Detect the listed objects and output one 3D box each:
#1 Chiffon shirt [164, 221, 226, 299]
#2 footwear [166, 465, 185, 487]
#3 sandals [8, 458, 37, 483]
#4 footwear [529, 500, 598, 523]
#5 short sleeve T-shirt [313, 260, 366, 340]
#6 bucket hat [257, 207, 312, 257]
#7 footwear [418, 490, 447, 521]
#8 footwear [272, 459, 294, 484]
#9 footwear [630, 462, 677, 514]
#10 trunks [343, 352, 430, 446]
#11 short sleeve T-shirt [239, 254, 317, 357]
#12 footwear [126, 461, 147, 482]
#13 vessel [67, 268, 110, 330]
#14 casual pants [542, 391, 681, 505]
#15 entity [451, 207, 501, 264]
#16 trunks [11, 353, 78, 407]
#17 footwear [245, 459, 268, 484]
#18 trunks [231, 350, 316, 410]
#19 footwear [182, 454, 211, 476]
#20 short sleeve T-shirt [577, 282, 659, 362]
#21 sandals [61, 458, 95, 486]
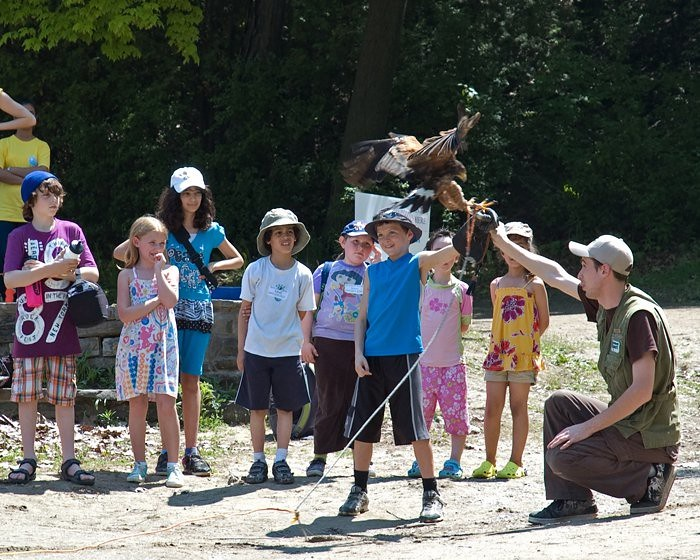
[{"bbox_3d":[-1.754,-0.224,15.788,0.741,0.965,0.400,4,11,3],"label":"Chiffon shirt"},{"bbox_3d":[-1.865,2.092,15.291,0.206,0.211,0.239,-1,15,-9],"label":"footwear"},{"bbox_3d":[-3.440,2.001,15.057,0.308,0.228,0.273,-4,16,-20],"label":"sandals"},{"bbox_3d":[2.129,2.306,14.387,0.741,0.333,0.254,0,-5,-2],"label":"footwear"},{"bbox_3d":[-0.097,0.253,15.624,0.568,0.741,0.397,19,-17,-5],"label":"short sleeve T-shirt"},{"bbox_3d":[-0.762,-0.603,15.950,0.476,0.562,0.312,-2,44,-9],"label":"bucket hat"},{"bbox_3d":[0.834,2.292,14.562,0.243,0.296,0.272,2,14,3],"label":"footwear"},{"bbox_3d":[-0.726,2.089,15.461,0.123,0.159,0.338,-2,1,-15],"label":"footwear"},{"bbox_3d":[3.018,2.102,14.182,0.463,0.486,0.199,-1,14,-11],"label":"footwear"},{"bbox_3d":[0.344,1.223,14.784,0.967,1.180,0.412,-1,-14,16],"label":"trunks"},{"bbox_3d":[-0.783,0.275,15.721,0.825,1.105,0.403,7,25,3],"label":"short sleeve T-shirt"},{"bbox_3d":[-2.276,2.062,15.313,0.185,0.190,0.196,2,14,3],"label":"footwear"},{"bbox_3d":[-2.783,0.227,15.201,0.392,0.556,0.307,-13,10,10],"label":"vessel"},{"bbox_3d":[2.469,1.667,14.478,1.413,1.130,1.076,-7,-13,35],"label":"casual pants"},{"bbox_3d":[1.286,-0.453,14.522,0.350,0.623,0.315,37,-39,-8],"label":"entity"},{"bbox_3d":[-3.246,0.875,15.126,0.730,0.285,0.818,-7,-35,-18],"label":"trunks"},{"bbox_3d":[-1.012,2.078,15.466,0.260,0.229,0.194,0,14,-6],"label":"footwear"},{"bbox_3d":[-0.799,1.096,15.659,0.733,0.708,0.288,1,0,-3],"label":"trunks"},{"bbox_3d":[-1.665,2.035,15.589,0.155,0.164,0.343,1,-2,-43],"label":"footwear"},{"bbox_3d":[2.694,0.476,14.267,0.251,0.610,0.833,-11,19,-40],"label":"short sleeve T-shirt"},{"bbox_3d":[-2.880,2.034,15.135,0.385,0.245,0.172,9,16,26],"label":"sandals"}]
